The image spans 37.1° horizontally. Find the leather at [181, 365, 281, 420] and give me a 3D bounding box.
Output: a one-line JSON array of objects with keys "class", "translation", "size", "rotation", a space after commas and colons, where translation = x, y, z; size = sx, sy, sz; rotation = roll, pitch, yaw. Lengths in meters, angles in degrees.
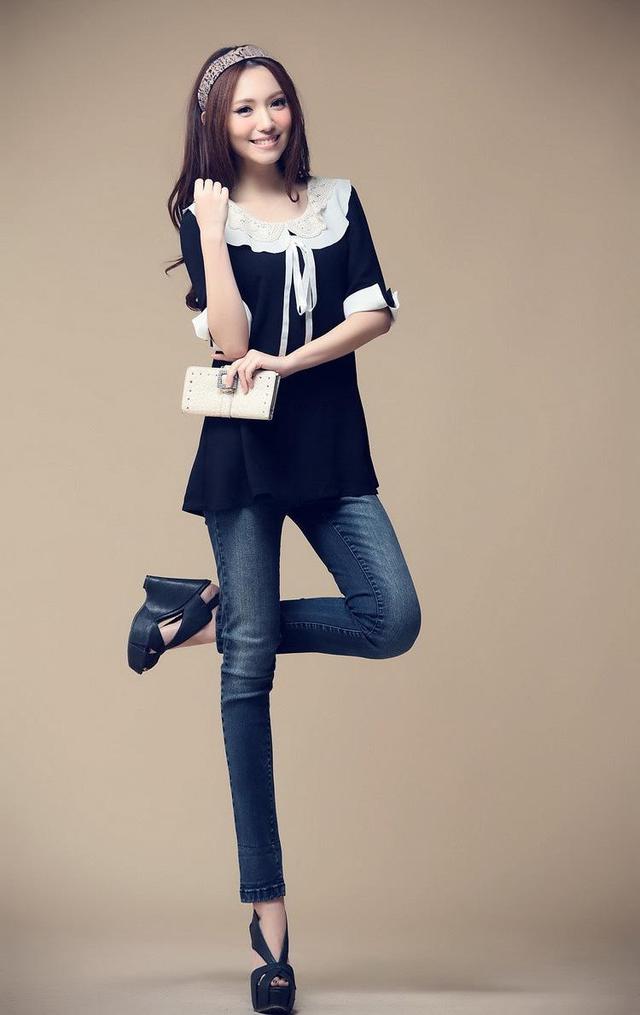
[{"class": "leather", "translation": [-0.160, -0.202, 1.669], "size": [0.190, 0.096, 0.036], "rotation": [1, 4, 33]}]

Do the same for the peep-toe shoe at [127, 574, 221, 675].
[{"class": "peep-toe shoe", "translation": [-0.324, 0.263, 2.031], "size": [0.144, 0.223, 0.080], "rotation": [30, 13, 27]}]

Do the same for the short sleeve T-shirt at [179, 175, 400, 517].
[{"class": "short sleeve T-shirt", "translation": [-0.063, -0.305, 1.745], "size": [0.390, 0.638, 0.184], "rotation": [-2, 3, -9]}]
